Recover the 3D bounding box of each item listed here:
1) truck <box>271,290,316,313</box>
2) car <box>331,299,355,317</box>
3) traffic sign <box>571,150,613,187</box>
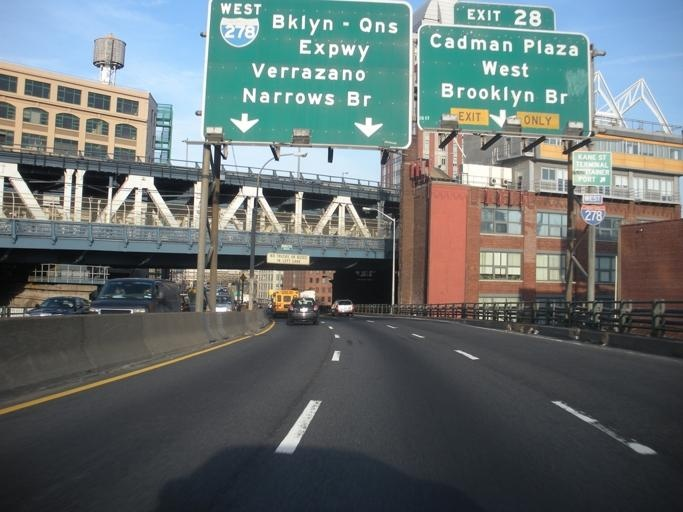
[{"bbox_3d":[-4.221,3.726,56.954,2.712,2.441,4.546,1,1,-9],"label":"truck"},{"bbox_3d":[0.106,4.705,62.347,1.247,1.484,3.166,0,0,-12],"label":"car"},{"bbox_3d":[9.163,-3.238,25.637,1.296,1.296,0.788,0,0,14],"label":"traffic sign"}]
